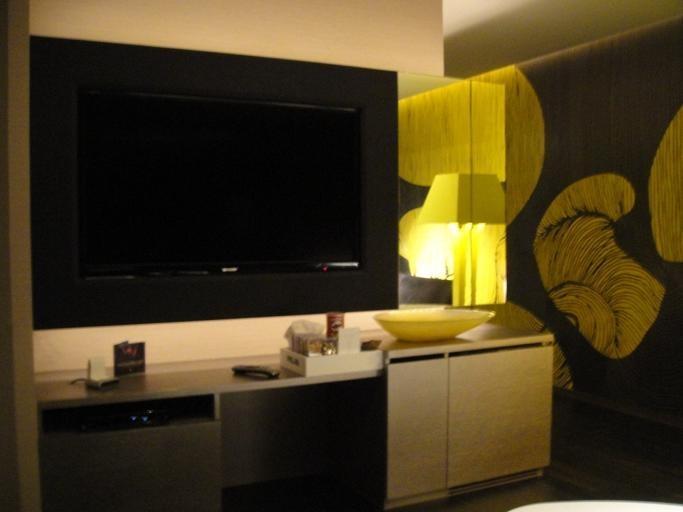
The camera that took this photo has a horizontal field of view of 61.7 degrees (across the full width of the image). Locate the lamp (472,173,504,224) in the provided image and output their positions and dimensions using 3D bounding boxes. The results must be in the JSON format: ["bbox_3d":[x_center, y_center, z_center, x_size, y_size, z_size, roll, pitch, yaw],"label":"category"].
[{"bbox_3d":[0.957,-0.366,3.716,0.277,0.329,0.075,-4,8,-31],"label":"lamp"}]

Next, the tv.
[{"bbox_3d":[-0.716,-0.385,3.100,1.121,0.703,0.113,0,-1,-26],"label":"tv"}]

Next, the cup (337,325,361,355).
[{"bbox_3d":[0.046,0.432,2.989,0.176,0.121,0.109,-3,8,-23],"label":"cup"}]

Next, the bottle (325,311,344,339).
[{"bbox_3d":[-0.031,0.373,3.073,0.111,0.179,0.111,0,0,0],"label":"bottle"}]

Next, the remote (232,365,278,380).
[{"bbox_3d":[-0.425,0.576,2.841,0.286,0.080,0.079,1,2,6],"label":"remote"}]

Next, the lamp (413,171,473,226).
[{"bbox_3d":[0.664,-0.359,3.596,0.292,0.325,0.414,6,7,42],"label":"lamp"}]

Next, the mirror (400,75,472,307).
[{"bbox_3d":[0.610,-0.400,3.577,0.562,1.394,0.138,-3,7,-21],"label":"mirror"}]
